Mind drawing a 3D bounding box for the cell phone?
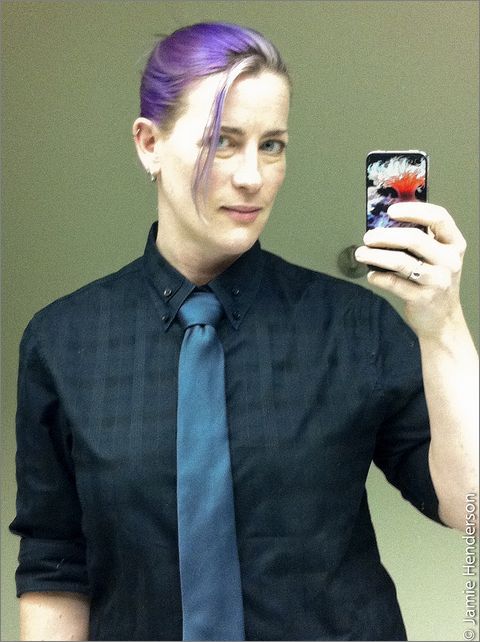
[{"bbox_3d":[0.215,-0.177,1.070,0.090,0.108,0.052,5,19,5],"label":"cell phone"}]

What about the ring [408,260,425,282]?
[{"bbox_3d":[0.237,-0.068,1.055,0.019,0.025,0.027,18,40,8],"label":"ring"}]
